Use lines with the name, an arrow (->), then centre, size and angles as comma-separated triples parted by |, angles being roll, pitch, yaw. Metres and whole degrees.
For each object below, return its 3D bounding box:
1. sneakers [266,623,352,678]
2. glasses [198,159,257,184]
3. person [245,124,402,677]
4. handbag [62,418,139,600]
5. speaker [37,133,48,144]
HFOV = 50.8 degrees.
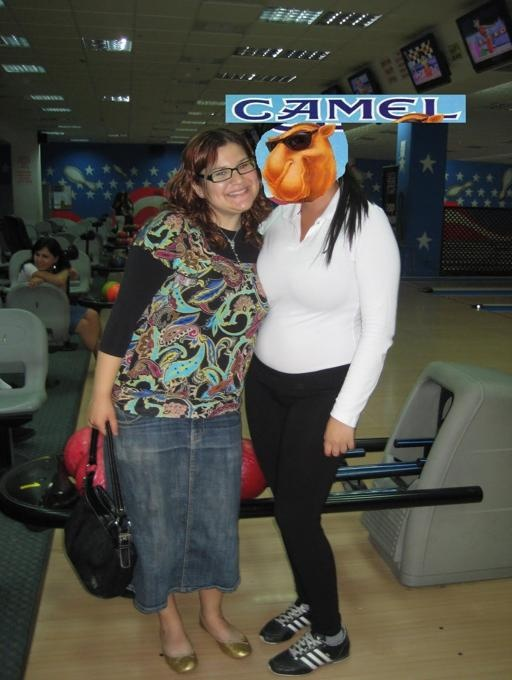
sneakers -> 0.130, 0.723, 1.286 | 0.216, 0.077, 0.071 | -8, 9, -10
glasses -> -0.055, -0.343, 1.100 | 0.122, 0.056, 0.053 | -1, 7, -8
person -> 0.133, 0.174, 1.190 | 0.310, 1.186, 0.291 | -1, 7, -2
handbag -> -0.353, 0.389, 1.203 | 0.140, 0.414, 0.365 | -3, 7, -18
speaker -> -6.133, -5.826, 15.503 | 0.254, 0.259, 0.215 | -5, 8, -36
